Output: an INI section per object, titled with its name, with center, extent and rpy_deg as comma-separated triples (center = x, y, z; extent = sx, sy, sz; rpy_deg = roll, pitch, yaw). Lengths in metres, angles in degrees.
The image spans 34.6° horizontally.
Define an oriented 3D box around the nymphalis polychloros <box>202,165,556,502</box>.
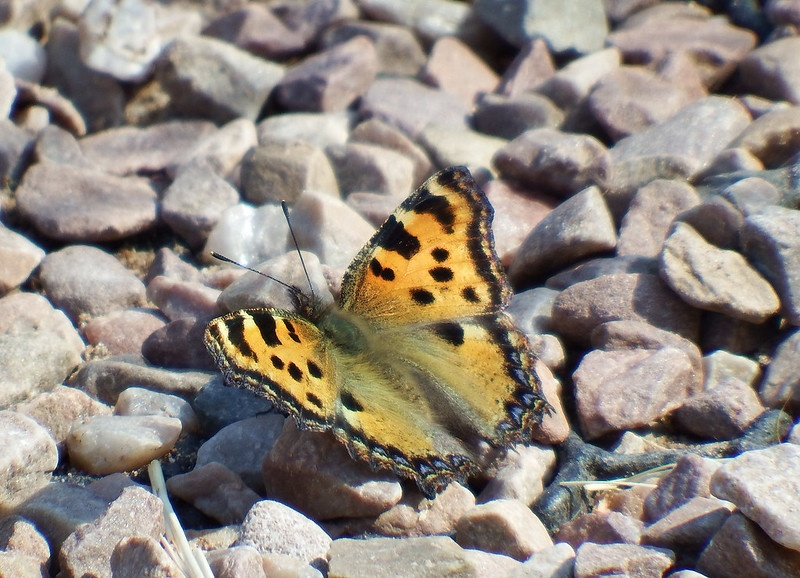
[nymphalis polychloros]
center = -0.150, 0.296, 6.596
extent = 1.959, 0.924, 1.684
rpy_deg = -32, 61, -34
